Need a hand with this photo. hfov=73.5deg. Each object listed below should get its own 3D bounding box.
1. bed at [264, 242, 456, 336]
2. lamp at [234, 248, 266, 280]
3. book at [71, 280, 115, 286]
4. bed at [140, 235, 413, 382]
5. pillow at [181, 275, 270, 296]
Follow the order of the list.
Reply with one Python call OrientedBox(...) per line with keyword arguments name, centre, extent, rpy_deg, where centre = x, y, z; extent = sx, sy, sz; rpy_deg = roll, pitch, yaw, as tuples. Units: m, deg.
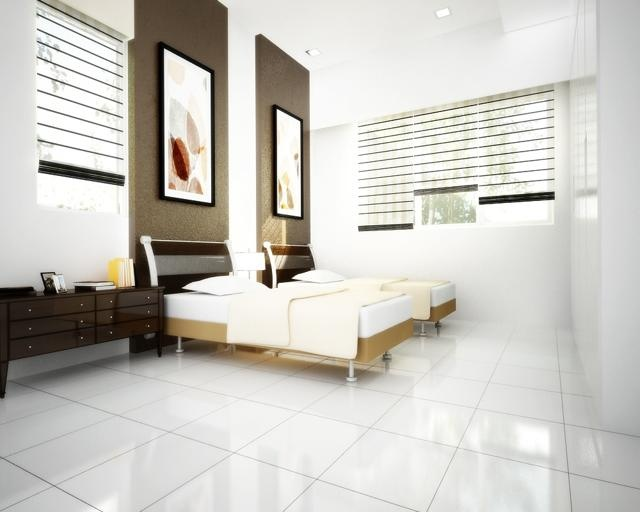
OrientedBox(name="bed", centre=(0.559, 0.344, 5.673), extent=(2.185, 1.318, 1.194), rpy_deg=(0, 1, 31))
OrientedBox(name="lamp", centre=(-0.877, 0.099, 5.384), extent=(0.327, 0.604, 0.342), rpy_deg=(-1, -1, 33))
OrientedBox(name="book", centre=(-1.976, 0.252, 3.713), extent=(0.311, 0.042, 0.186), rpy_deg=(0, 6, 1))
OrientedBox(name="bed", centre=(-0.312, 0.505, 4.149), extent=(1.923, 1.157, 1.380), rpy_deg=(0, 0, 28))
OrientedBox(name="pillow", centre=(-0.900, 0.300, 4.366), extent=(0.317, 0.129, 0.547), rpy_deg=(1, -1, 30))
